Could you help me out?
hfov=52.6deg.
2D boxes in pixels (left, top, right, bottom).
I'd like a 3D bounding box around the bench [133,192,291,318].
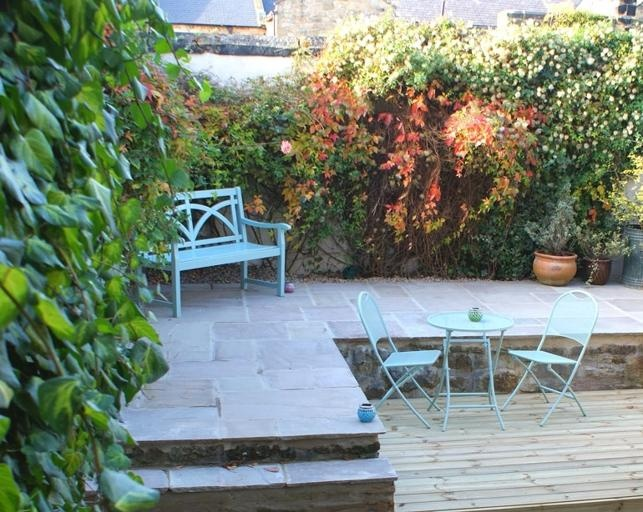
[{"bbox_3d":[-0.895,-0.088,5.963,1.150,1.067,2.055,0,11,-3],"label":"bench"}]
